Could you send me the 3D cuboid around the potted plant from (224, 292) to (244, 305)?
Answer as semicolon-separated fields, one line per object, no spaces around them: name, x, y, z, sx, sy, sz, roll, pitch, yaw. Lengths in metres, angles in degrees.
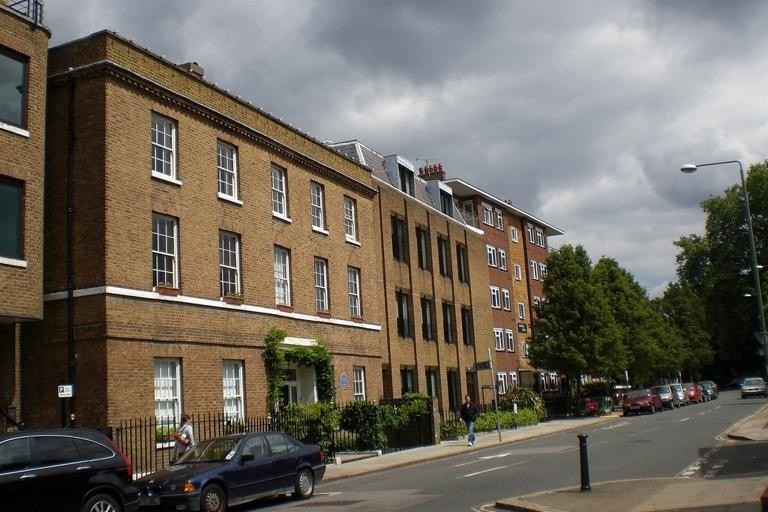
potted plant;-6.099;1.715;25.955;0.203;0.528;1.000;-21;-21;36

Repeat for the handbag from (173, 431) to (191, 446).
handbag;-6.582;6.011;21.051;0.405;0.166;0.410;27;3;27
